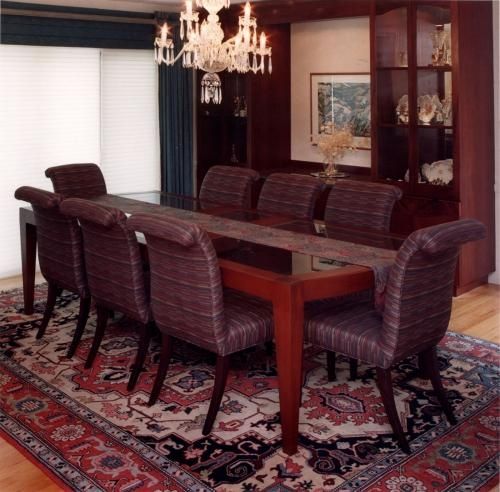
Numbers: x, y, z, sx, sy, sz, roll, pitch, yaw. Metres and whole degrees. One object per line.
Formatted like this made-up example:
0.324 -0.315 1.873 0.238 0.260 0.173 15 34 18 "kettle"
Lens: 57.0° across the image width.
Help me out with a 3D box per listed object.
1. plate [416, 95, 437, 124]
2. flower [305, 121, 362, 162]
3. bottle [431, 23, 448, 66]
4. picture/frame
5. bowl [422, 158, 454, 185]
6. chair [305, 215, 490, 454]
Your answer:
1.360 -1.045 3.523 0.025 0.221 0.149 -11 15 -44 "plate"
0.855 -1.015 4.484 0.447 0.384 0.452 11 20 44 "flower"
1.397 -1.466 3.385 0.042 0.286 0.144 -7 12 -27 "bottle"
0.901 -1.317 4.469 0.043 0.675 1.091 -12 16 -39 "picture/frame"
1.445 -0.570 3.574 0.316 0.180 0.202 16 36 42 "bowl"
0.561 0.330 1.876 0.551 0.885 0.447 9 14 44 "chair"
